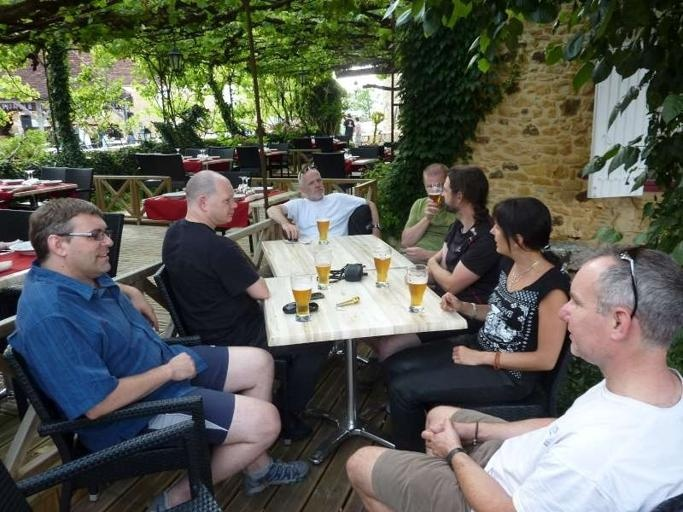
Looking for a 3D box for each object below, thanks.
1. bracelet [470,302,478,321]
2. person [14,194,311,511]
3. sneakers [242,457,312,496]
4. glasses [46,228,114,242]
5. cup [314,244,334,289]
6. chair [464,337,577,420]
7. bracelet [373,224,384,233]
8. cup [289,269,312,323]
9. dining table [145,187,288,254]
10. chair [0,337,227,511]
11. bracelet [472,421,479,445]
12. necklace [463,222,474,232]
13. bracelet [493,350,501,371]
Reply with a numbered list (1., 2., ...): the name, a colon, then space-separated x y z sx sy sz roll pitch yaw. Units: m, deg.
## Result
1. bracelet: 0.721 0.296 2.717 0.028 0.069 0.063 -4 -14 31
2. person: -0.749 0.182 2.907 1.623 1.727 1.147 -7 23 -19
3. sneakers: -0.322 1.085 2.590 0.357 0.141 0.124 -8 24 -23
4. glasses: -1.104 -0.095 2.165 0.153 0.037 0.138 -2 8 -21
5. cup: -0.101 0.072 2.899 0.157 0.320 0.147 1 25 0
6. chair: 0.777 0.566 2.473 0.518 0.482 0.307 2 12 2
7. bracelet: 0.327 -0.243 4.477 0.105 0.064 0.103 5 1 6
8. cup: -0.200 0.207 2.458 0.132 0.246 0.123 0 31 0
9. dining table: -1.676 -0.678 6.346 1.439 0.661 1.028 12 25 27
10. chair: -0.905 0.667 2.364 0.821 0.952 0.717 -5 14 -16
11. bracelet: 0.546 0.723 2.034 0.022 0.067 0.063 9 -24 3
12. necklace: 0.771 -0.173 3.053 0.045 0.050 0.059 -6 -28 22
13. bracelet: 0.730 0.487 2.356 0.020 0.060 0.052 6 -3 6
